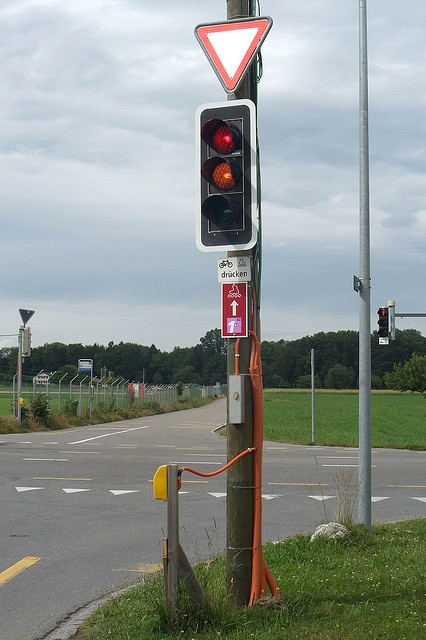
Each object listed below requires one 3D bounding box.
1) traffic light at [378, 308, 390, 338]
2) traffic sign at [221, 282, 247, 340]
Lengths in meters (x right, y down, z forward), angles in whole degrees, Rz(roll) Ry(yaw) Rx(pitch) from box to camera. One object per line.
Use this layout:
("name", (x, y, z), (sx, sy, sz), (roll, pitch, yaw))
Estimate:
("traffic light", (3.098, 0.019, 20.992), (0.194, 0.543, 0.824), (-1, -4, 8))
("traffic sign", (0.169, -0.089, 9.219), (0.217, 0.546, 0.033), (-1, 32, -2))
